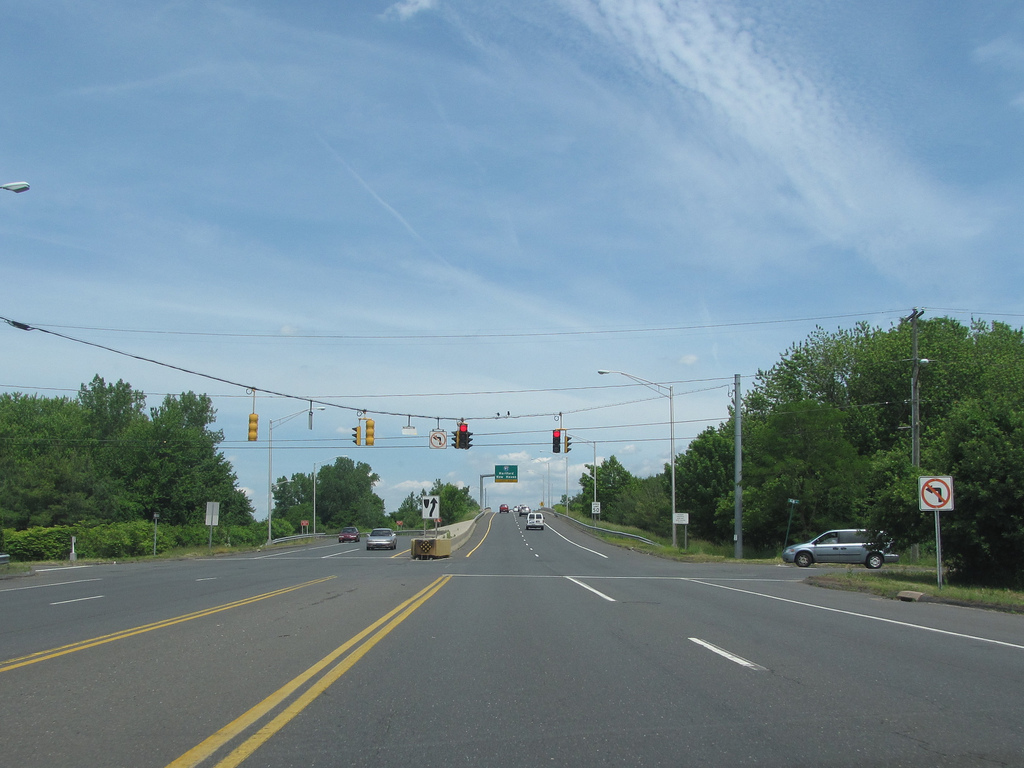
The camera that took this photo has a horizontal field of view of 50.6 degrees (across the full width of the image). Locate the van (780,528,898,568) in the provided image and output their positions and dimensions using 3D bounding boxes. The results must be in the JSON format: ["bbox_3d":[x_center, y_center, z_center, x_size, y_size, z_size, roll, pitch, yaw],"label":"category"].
[{"bbox_3d":[14.320,7.341,48.365,4.777,1.769,4.455,-5,-11,30],"label":"van"}]
